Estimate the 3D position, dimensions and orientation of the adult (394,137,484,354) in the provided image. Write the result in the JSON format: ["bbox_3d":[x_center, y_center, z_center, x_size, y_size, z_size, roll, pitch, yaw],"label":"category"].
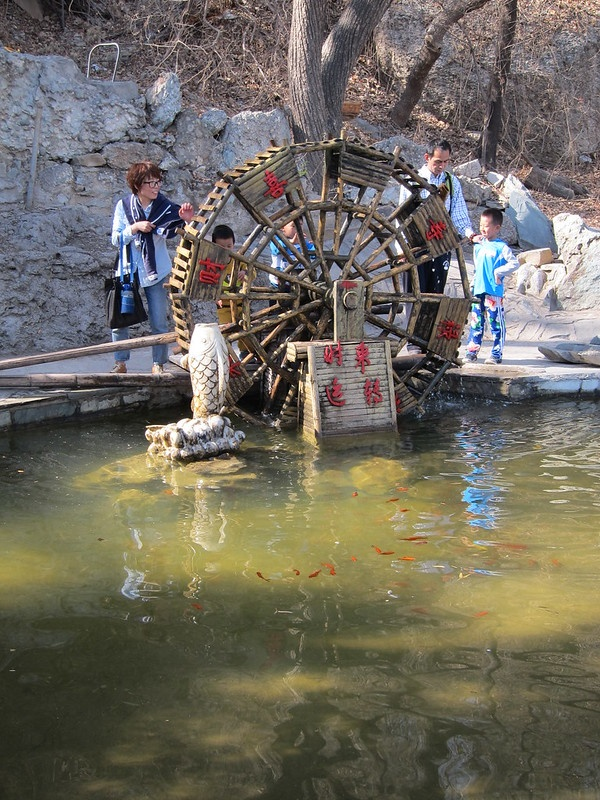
[{"bbox_3d":[1.350,-1.643,8.335,0.761,1.941,0.615,9,43,14],"label":"adult"}]

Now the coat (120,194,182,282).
[{"bbox_3d":[-1.251,-1.405,7.069,0.508,0.737,0.235,-4,7,-7],"label":"coat"}]

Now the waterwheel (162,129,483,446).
[{"bbox_3d":[-0.001,-0.888,7.619,3.475,2.834,0.834,-7,10,-33],"label":"waterwheel"}]

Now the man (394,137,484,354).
[{"bbox_3d":[1.359,-1.642,8.362,0.827,1.990,0.578,4,41,7],"label":"man"}]

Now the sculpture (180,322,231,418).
[{"bbox_3d":[-0.699,-0.220,6.311,0.294,0.726,0.334,-5,7,-7],"label":"sculpture"}]
